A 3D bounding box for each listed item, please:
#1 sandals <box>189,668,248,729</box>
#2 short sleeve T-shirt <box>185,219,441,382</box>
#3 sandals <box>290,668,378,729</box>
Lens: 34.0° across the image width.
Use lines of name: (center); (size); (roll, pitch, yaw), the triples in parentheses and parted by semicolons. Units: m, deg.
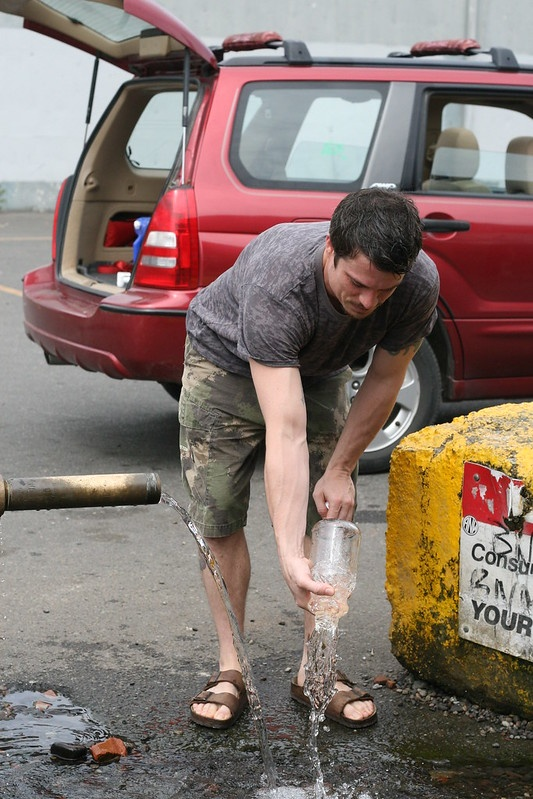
sandals: (-0.121, 0.818, 2.450); (0.128, 0.103, 0.301); (2, 4, 14)
short sleeve T-shirt: (0.050, -0.207, 2.116); (0.366, 0.256, 0.595); (4, -18, -38)
sandals: (0.195, 0.836, 2.435); (0.214, 0.068, 0.103); (11, 21, 41)
